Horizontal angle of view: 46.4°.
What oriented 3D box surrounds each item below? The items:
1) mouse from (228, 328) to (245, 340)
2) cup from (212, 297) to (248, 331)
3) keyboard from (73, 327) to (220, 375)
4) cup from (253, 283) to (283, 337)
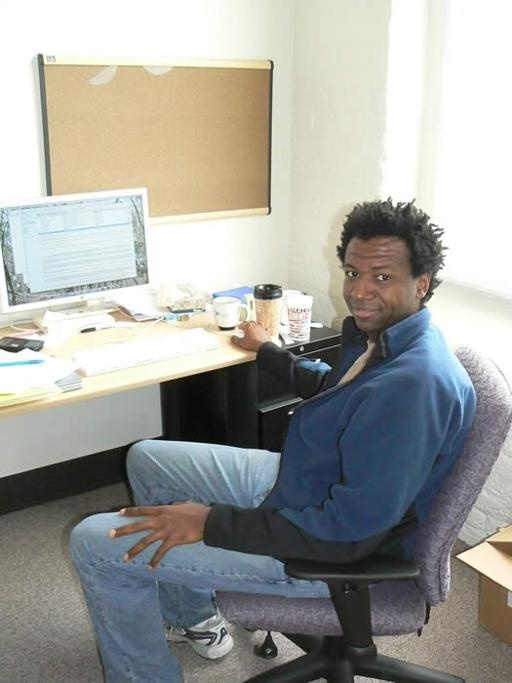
[{"bbox_3d":[-0.066,-0.028,1.970,0.042,0.010,0.042,-5,21,-15],"label":"mouse"},{"bbox_3d":[-0.092,-0.102,2.060,0.086,0.093,0.130,-20,30,-40],"label":"cup"},{"bbox_3d":[-0.342,0.053,1.769,0.295,0.027,0.122,-13,16,14],"label":"keyboard"},{"bbox_3d":[0.039,-0.090,1.980,0.108,0.165,0.103,0,10,0],"label":"cup"}]
